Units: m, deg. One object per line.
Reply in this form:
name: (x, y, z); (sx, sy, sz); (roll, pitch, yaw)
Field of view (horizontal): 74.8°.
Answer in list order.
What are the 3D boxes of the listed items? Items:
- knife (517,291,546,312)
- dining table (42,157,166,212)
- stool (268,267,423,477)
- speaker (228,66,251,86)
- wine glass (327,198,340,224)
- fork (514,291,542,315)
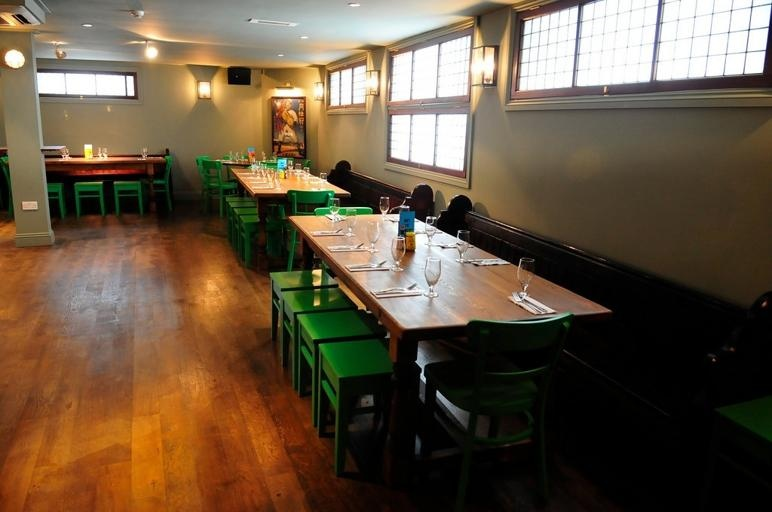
knife: (0.964, 0.298, 3.309); (0.062, 0.013, 0.212); (-15, 22, -15)
dining table: (-5.456, -1.468, 10.012); (2.052, 1.136, 1.678); (-10, 21, -29)
stool: (-0.267, 0.855, 3.532); (0.328, 0.460, 1.243); (-2, 23, -22)
speaker: (-3.246, -3.994, 11.228); (0.539, 0.397, 0.201); (-4, 18, -15)
wine glass: (-0.569, -0.487, 5.431); (0.143, 0.166, 0.415); (4, -18, -6)
fork: (0.915, 0.301, 3.307); (0.058, 0.027, 0.222); (-6, 26, -12)
